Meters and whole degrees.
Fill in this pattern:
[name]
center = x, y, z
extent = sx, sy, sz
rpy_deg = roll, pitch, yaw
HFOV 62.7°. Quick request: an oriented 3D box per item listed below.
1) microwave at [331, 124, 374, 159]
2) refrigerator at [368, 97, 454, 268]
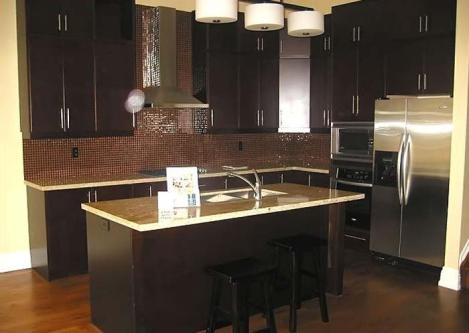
[microwave]
center = 1.815, -0.421, 5.768
extent = 0.436, 0.564, 0.802
rpy_deg = -2, 5, -32
[refrigerator]
center = 2.276, 0.168, 5.032
extent = 0.978, 2.106, 0.377
rpy_deg = 6, 11, 31
